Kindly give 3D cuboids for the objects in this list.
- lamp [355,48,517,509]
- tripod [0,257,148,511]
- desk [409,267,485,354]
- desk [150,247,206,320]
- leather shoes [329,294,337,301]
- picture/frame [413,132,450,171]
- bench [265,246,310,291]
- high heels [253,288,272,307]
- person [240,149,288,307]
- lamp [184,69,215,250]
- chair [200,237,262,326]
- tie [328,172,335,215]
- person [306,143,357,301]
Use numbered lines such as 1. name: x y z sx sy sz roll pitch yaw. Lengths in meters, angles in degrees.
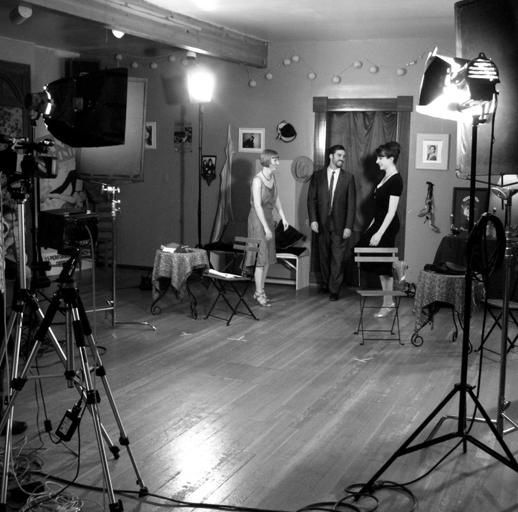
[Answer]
1. lamp: 0.968 0.148 2.485 0.785 2.254 0.901 3 8 20
2. tripod: -1.241 0.872 3.297 0.757 1.440 0.823 2 10 12
3. desk: 2.010 0.541 5.292 0.550 0.758 0.643 7 10 31
4. desk: -1.113 0.352 6.489 0.545 0.815 0.600 -2 4 -27
5. leather shoes: 1.126 0.645 7.440 0.122 0.083 0.111 1 9 9
6. picture/frame: 2.736 -1.656 7.748 0.476 0.721 0.067 1 0 14
7. bench: 0.379 0.252 8.330 0.880 1.077 0.545 0 -2 32
8. high heels: 0.056 0.624 6.993 0.119 0.195 0.352 -5 7 -30
9. person: 0.112 -0.355 6.895 0.462 2.189 0.496 -3 8 -21
10. lamp: -0.993 -1.754 8.655 0.514 3.206 1.011 -1 8 -9
11. chair: -0.316 0.389 6.484 0.578 0.953 0.634 1 -10 -5
12. tie: 1.128 -0.968 7.614 0.094 0.633 0.078 6 9 37
13. person: 1.093 -0.536 7.797 0.609 2.331 0.924 -5 9 -34
